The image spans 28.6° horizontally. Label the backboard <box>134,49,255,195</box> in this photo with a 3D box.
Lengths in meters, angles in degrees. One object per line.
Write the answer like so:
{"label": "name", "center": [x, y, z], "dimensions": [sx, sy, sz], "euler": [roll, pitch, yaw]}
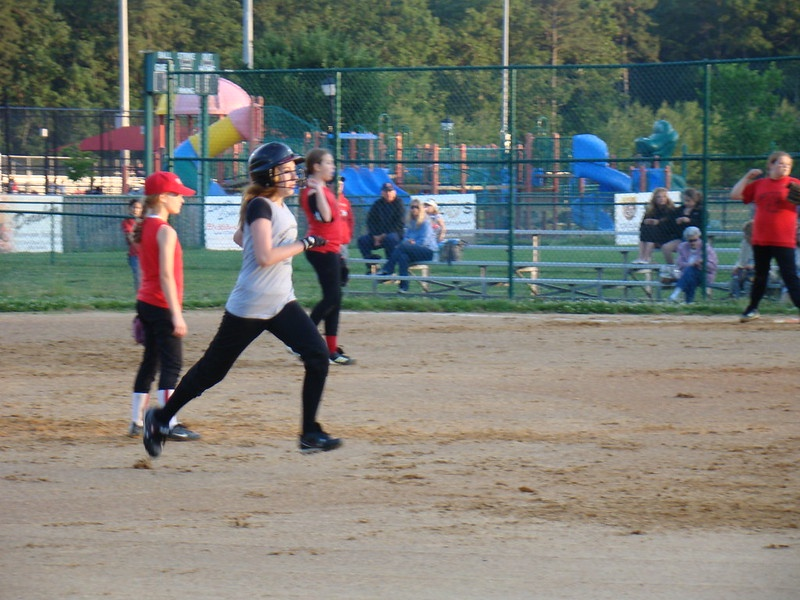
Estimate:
{"label": "backboard", "center": [-4.582, -4.394, 38.298], "dimensions": [2.790, 3.026, 2.802], "euler": [-4, 16, -3]}

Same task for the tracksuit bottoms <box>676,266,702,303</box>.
{"label": "tracksuit bottoms", "center": [4.712, -0.255, 25.507], "dimensions": [0.466, 0.538, 0.213], "euler": [10, 9, -31]}

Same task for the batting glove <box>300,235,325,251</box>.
{"label": "batting glove", "center": [-1.035, -0.682, 18.681], "dimensions": [0.170, 0.083, 0.365], "euler": [-11, -8, 34]}

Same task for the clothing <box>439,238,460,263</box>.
{"label": "clothing", "center": [0.862, -0.874, 27.630], "dimensions": [0.570, 0.326, 0.451], "euler": [0, -3, 2]}

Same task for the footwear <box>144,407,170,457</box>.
{"label": "footwear", "center": [-2.957, 1.589, 18.740], "dimensions": [0.381, 0.532, 0.256], "euler": [-4, 4, 26]}

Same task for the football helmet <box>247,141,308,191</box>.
{"label": "football helmet", "center": [-1.500, -1.595, 18.653], "dimensions": [0.634, 0.535, 0.276], "euler": [0, 4, -2]}

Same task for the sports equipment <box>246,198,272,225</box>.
{"label": "sports equipment", "center": [-1.670, -1.028, 18.451], "dimensions": [0.445, 0.218, 0.193], "euler": [3, 13, 18]}

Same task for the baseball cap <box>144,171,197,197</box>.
{"label": "baseball cap", "center": [-2.835, -1.406, 19.186], "dimensions": [0.622, 0.190, 0.317], "euler": [4, 10, -15]}

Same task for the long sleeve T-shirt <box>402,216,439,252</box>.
{"label": "long sleeve T-shirt", "center": [0.300, -1.166, 27.329], "dimensions": [0.656, 0.509, 0.540], "euler": [-14, 19, -31]}
